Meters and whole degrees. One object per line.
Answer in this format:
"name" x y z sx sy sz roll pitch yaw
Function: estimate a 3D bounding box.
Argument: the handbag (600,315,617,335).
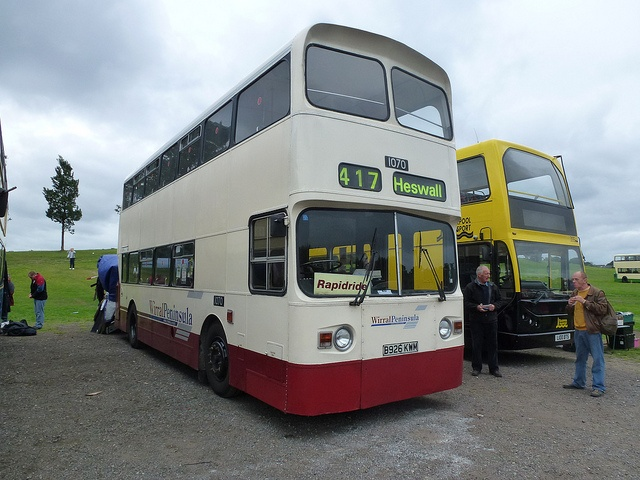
"handbag" 5.659 1.660 7.410 0.304 0.498 0.243 6 -2 -23

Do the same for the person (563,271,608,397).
"person" 5.483 1.895 7.821 0.747 2.449 0.794 -1 -5 11

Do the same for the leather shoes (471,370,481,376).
"leather shoes" 3.662 3.128 8.866 0.088 0.111 0.235 -7 -18 36

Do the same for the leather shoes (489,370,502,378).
"leather shoes" 4.135 3.130 8.851 0.257 0.149 0.242 -2 -5 20
